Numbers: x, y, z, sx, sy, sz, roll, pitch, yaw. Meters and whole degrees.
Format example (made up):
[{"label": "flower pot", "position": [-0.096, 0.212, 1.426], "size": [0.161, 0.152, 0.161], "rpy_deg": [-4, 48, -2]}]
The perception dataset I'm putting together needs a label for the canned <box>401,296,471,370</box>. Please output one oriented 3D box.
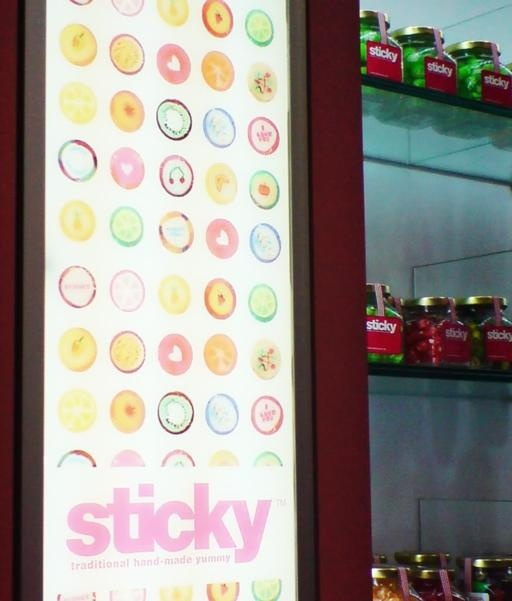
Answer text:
[{"label": "canned", "position": [0.283, 0.053, 1.495], "size": [0.112, 0.135, 0.087], "rpy_deg": [4, -8, -35]}]
